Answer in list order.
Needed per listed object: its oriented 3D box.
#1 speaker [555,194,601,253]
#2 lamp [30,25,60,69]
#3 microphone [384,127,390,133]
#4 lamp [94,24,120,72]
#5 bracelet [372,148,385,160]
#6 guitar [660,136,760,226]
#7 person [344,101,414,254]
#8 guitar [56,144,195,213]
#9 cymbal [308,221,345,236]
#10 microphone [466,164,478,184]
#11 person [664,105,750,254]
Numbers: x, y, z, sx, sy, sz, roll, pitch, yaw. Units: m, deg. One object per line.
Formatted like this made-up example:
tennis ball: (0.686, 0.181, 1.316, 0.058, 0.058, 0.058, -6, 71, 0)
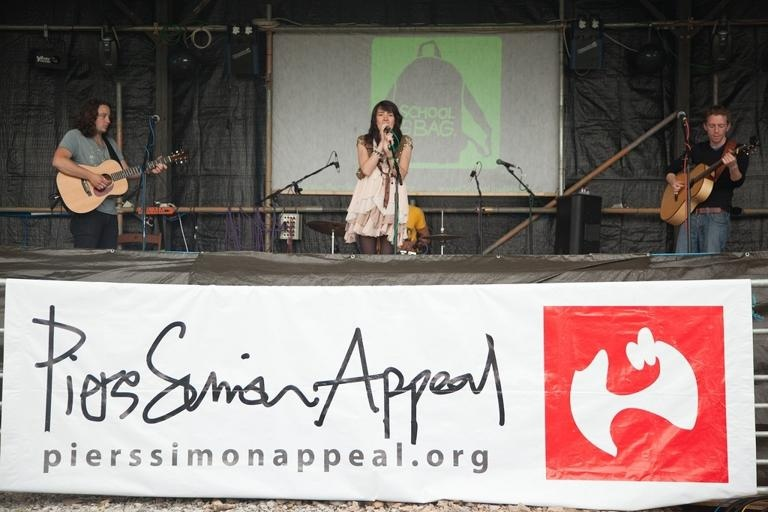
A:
speaker: (2.061, -0.235, 16.901, 0.403, 0.635, 0.437, -3, -4, 29)
lamp: (-3.618, -2.234, 17.572, 0.323, 0.464, 0.151, -1, 2, -9)
microphone: (0.045, -1.142, 14.859, 0.067, 0.059, 0.035, 3, -3, -33)
lamp: (-2.937, -2.245, 17.539, 0.215, 0.456, 0.347, 1, -3, -9)
bracelet: (-0.036, -0.939, 15.027, 0.102, 0.060, 0.078, 37, -8, 34)
guitar: (2.998, -0.613, 15.804, 0.225, 0.720, 1.589, 11, -11, -9)
person: (-0.037, -0.719, 15.027, 0.590, 1.430, 0.689, 1, -3, -2)
guitar: (-2.502, -0.765, 15.899, 1.299, 0.545, 0.138, -23, 4, -27)
cymbal: (-0.581, -0.288, 16.599, 0.370, 0.141, 0.488, 1, -3, -4)
microphone: (0.977, -0.908, 17.454, 0.104, 0.225, 0.317, 1, -3, 3)
person: (3.117, -0.717, 15.734, 0.719, 1.404, 0.766, 1, -3, -1)
